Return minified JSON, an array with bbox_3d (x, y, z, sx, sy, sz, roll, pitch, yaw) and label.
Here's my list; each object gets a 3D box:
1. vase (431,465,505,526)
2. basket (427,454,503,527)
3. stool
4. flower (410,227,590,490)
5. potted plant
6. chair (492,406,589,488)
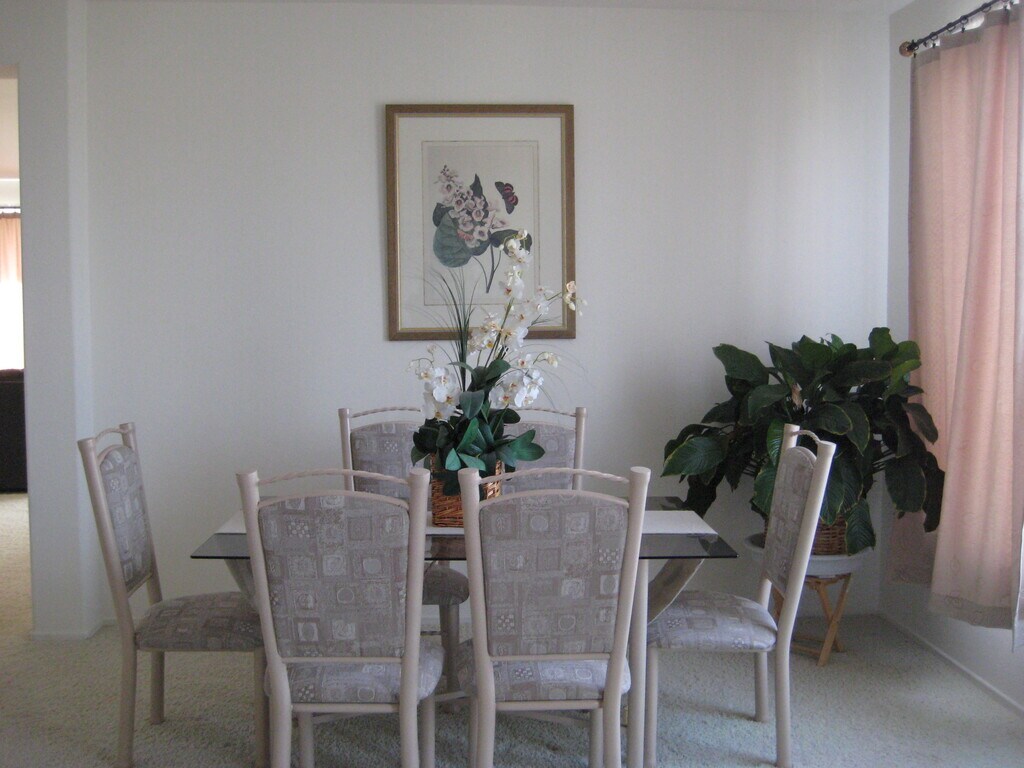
[{"bbox_3d":[-0.169,0.404,2.952,0.238,0.168,0.207,1,3,-10],"label":"vase"},{"bbox_3d":[-0.187,0.405,2.948,0.188,0.172,0.257,1,-4,3],"label":"basket"},{"bbox_3d":[1.516,1.053,3.897,0.388,0.525,0.385,-2,-6,30],"label":"stool"},{"bbox_3d":[-0.088,-0.025,2.970,0.452,0.972,0.489,-26,41,-35],"label":"flower"},{"bbox_3d":[1.413,0.327,3.970,1.271,0.968,1.002,8,12,38],"label":"potted plant"},{"bbox_3d":[0.182,0.294,3.753,0.318,0.584,0.366,1,-3,3],"label":"chair"}]
